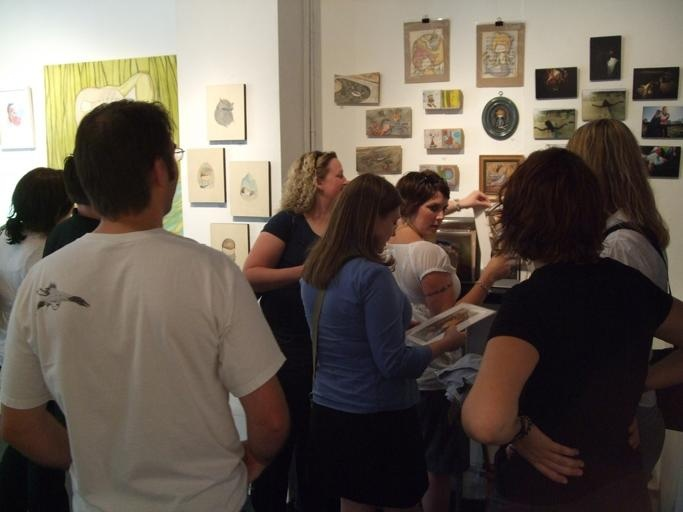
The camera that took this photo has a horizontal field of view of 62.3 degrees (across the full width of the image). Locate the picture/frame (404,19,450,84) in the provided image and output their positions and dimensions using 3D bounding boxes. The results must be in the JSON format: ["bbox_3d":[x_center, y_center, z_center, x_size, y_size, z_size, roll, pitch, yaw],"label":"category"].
[{"bbox_3d":[0.596,-1.446,3.947,0.433,0.540,0.035,1,9,12],"label":"picture/frame"}]

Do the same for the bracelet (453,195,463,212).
[{"bbox_3d":[0.782,-0.356,3.912,0.058,0.083,0.030,-3,-27,28],"label":"bracelet"}]

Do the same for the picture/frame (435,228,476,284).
[{"bbox_3d":[0.782,-0.019,3.903,0.243,0.373,0.289,-8,18,-9],"label":"picture/frame"}]

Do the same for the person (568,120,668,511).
[{"bbox_3d":[1.253,0.156,2.580,0.534,1.630,0.408,6,38,38],"label":"person"}]

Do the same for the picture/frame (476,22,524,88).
[{"bbox_3d":[1.074,-1.364,3.793,0.422,0.559,0.042,2,10,16],"label":"picture/frame"}]

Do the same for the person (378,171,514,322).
[{"bbox_3d":[0.537,-0.034,2.973,0.493,1.245,0.507,-6,25,-11],"label":"person"}]

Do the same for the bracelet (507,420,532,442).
[{"bbox_3d":[0.588,0.581,1.882,0.030,0.080,0.058,19,16,-46],"label":"bracelet"}]

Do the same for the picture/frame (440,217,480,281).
[{"bbox_3d":[0.801,-0.008,3.907,0.281,0.326,0.286,-6,1,41],"label":"picture/frame"}]

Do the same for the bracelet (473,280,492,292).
[{"bbox_3d":[0.780,0.183,3.186,0.063,0.031,0.080,20,-18,-10],"label":"bracelet"}]
